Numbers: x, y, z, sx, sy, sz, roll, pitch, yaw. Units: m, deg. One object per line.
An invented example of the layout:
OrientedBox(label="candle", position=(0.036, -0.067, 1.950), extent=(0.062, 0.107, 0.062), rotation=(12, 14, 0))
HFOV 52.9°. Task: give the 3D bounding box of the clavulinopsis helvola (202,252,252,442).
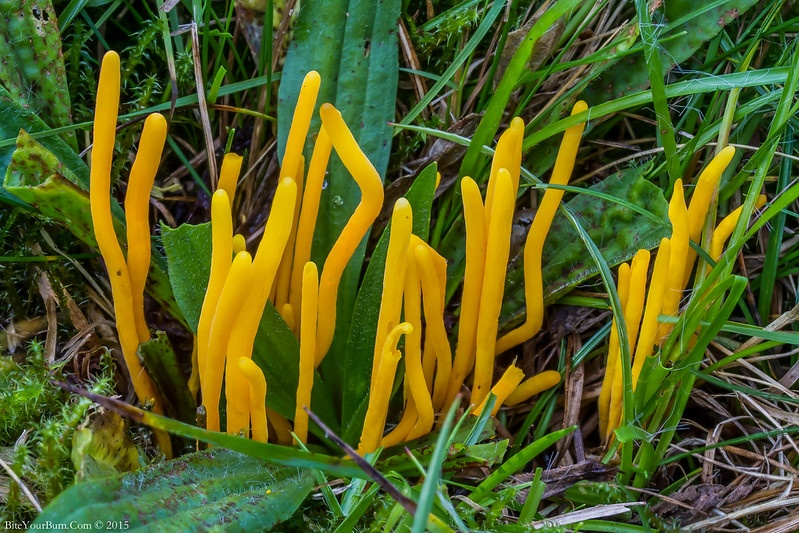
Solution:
OrientedBox(label="clavulinopsis helvola", position=(-0.229, 0.106, 1.050), extent=(0.039, 0.264, 0.058), rotation=(-3, -11, 28))
